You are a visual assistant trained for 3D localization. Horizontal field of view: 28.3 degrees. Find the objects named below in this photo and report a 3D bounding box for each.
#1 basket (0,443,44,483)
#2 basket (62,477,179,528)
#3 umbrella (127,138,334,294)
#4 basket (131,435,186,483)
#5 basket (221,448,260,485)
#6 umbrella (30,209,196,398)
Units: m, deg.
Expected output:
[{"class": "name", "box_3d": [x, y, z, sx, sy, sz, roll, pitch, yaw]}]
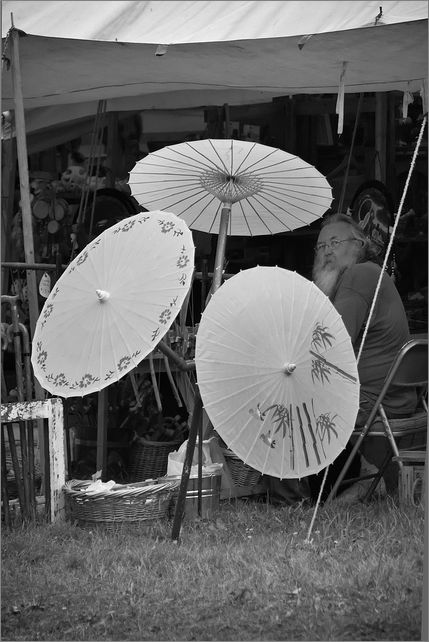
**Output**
[{"class": "basket", "box_3d": [-0.945, 0.682, 4.153, 0.184, 0.209, 0.269, -8, -30, -1]}, {"class": "basket", "box_3d": [-0.379, 0.761, 3.564, 0.488, 0.168, 0.310, -2, 2, -14]}, {"class": "umbrella", "box_3d": [0.082, -0.618, 3.348, 0.668, 0.665, 0.735, 5, 45, 1]}, {"class": "basket", "box_3d": [-0.320, 0.732, 4.587, 0.205, 0.169, 0.215, -1, -4, 16]}, {"class": "basket", "box_3d": [0.126, 0.678, 3.982, 0.171, 0.076, 0.145, 0, 5, 6]}, {"class": "umbrella", "box_3d": [-0.314, -0.067, 2.659, 0.574, 0.568, 0.355, 0, 3, 39]}]
